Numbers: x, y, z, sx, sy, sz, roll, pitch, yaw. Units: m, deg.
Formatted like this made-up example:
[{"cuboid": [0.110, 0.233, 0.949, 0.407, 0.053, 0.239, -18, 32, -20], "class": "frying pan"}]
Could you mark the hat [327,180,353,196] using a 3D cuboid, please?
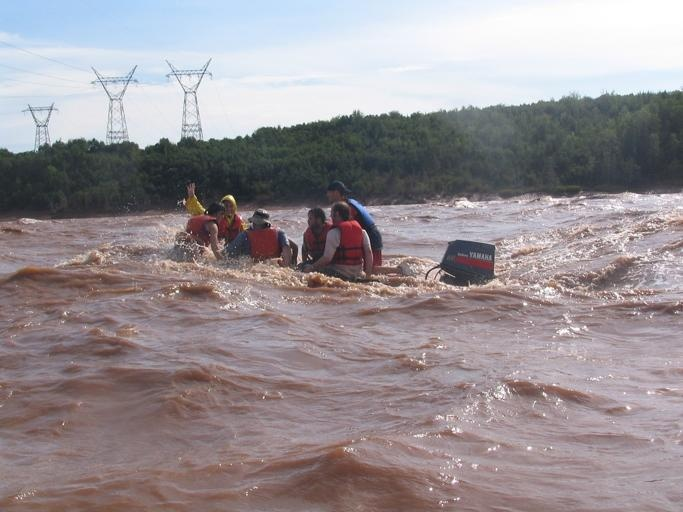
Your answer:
[{"cuboid": [-0.053, -1.057, 12.045, 0.324, 0.217, 0.352, 0, 11, 1], "class": "hat"}]

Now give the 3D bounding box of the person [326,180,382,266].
[{"cuboid": [0.178, -0.329, 12.353, 0.863, 1.776, 0.690, -1, 14, 14], "class": "person"}]

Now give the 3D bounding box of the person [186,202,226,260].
[{"cuboid": [-2.099, -0.427, 12.373, 0.593, 0.784, 1.272, -4, 12, -19], "class": "person"}]

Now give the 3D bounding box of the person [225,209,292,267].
[{"cuboid": [-1.268, -0.269, 11.854, 0.991, 0.873, 0.482, -1, 11, -6], "class": "person"}]

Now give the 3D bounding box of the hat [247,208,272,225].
[{"cuboid": [-1.276, -0.587, 11.938, 0.449, 0.243, 0.482, 0, 6, -19], "class": "hat"}]

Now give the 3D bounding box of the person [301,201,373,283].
[{"cuboid": [-0.101, -0.213, 11.505, 1.062, 1.069, 0.882, -1, -1, -12], "class": "person"}]
